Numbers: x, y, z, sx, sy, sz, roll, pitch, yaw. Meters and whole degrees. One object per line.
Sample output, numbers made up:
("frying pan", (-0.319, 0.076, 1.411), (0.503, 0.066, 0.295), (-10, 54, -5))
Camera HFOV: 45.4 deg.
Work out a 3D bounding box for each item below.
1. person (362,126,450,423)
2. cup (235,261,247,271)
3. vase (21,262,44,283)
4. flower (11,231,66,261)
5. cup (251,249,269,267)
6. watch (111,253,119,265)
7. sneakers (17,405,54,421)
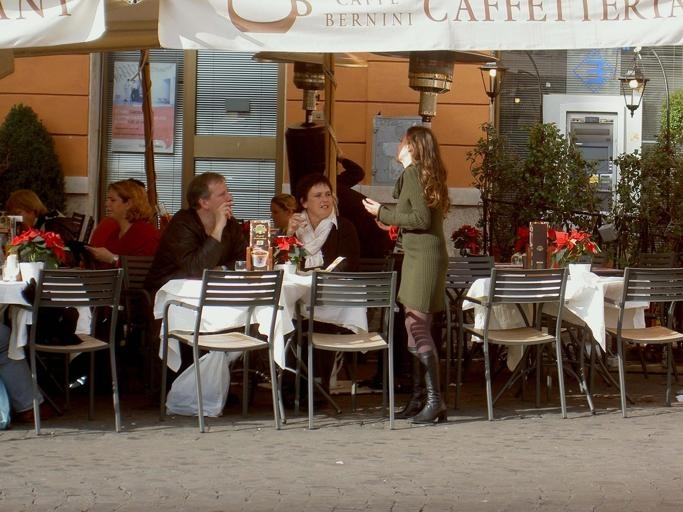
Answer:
("person", (0.610, 0.150, 6.825), (0.544, 2.466, 0.385), (1, 3, 7))
("cup", (-0.885, 0.089, 7.115), (0.079, 0.067, 0.085), (2, 1, 0))
("vase", (-2.467, 0.115, 6.484), (0.169, 0.164, 0.203), (1, 1, -4))
("flower", (-2.448, -0.080, 6.651), (0.277, 0.173, 0.285), (1, 5, -28))
("cup", (-0.715, 0.031, 7.104), (0.138, 0.160, 0.139), (2, 5, 0))
("watch", (-2.266, 0.044, 8.160), (0.077, 0.088, 0.081), (-2, 6, -30))
("sneakers", (-2.504, 1.289, 6.693), (0.098, 0.127, 0.282), (-4, -11, 25))
